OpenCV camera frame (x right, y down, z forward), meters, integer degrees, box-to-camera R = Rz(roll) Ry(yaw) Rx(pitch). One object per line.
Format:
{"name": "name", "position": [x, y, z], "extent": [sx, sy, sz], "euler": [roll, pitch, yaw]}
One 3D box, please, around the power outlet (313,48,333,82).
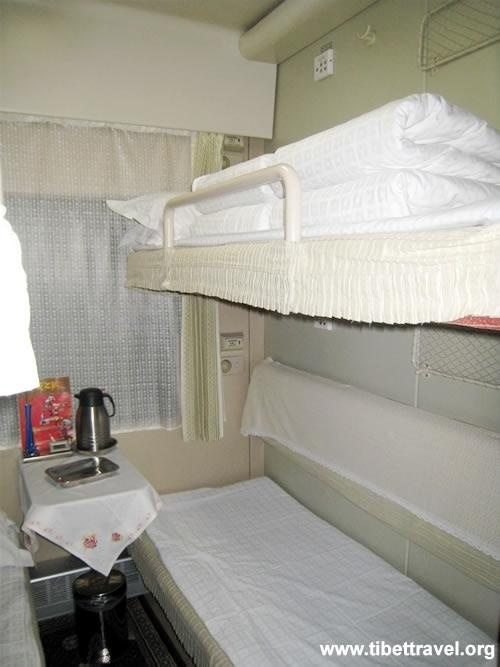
{"name": "power outlet", "position": [0.370, -1.330, 2.411], "extent": [0.034, 0.124, 0.127], "euler": [-11, 12, -34]}
